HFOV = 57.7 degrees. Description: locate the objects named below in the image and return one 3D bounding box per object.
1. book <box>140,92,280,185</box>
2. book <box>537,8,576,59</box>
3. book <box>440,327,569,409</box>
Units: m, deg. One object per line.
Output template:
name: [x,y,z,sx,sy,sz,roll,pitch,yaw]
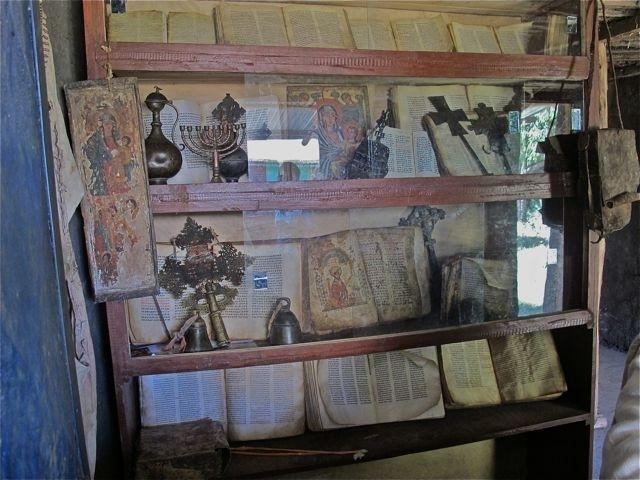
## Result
book: [-0.434,-0.382,2.170,0.354,0.313,0.139,-3,3,-20]
book: [0.970,-0.861,2.399,0.219,0.250,0.019,-1,4,-12]
book: [0.828,0.598,2.669,0.520,0.353,0.127,-9,-6,-5]
